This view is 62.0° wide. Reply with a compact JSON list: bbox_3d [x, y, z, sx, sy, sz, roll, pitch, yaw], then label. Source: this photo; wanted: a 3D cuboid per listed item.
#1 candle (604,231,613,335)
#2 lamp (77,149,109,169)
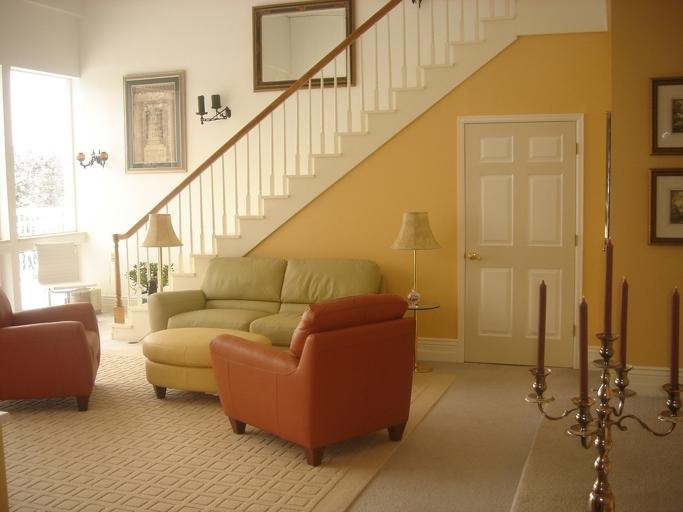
[{"bbox_3d":[0.960,0.104,2.054,0.031,0.335,0.269,3,10,24],"label":"candle"},{"bbox_3d":[-3.585,-1.389,8.235,0.613,0.264,0.212,4,10,27],"label":"lamp"}]
